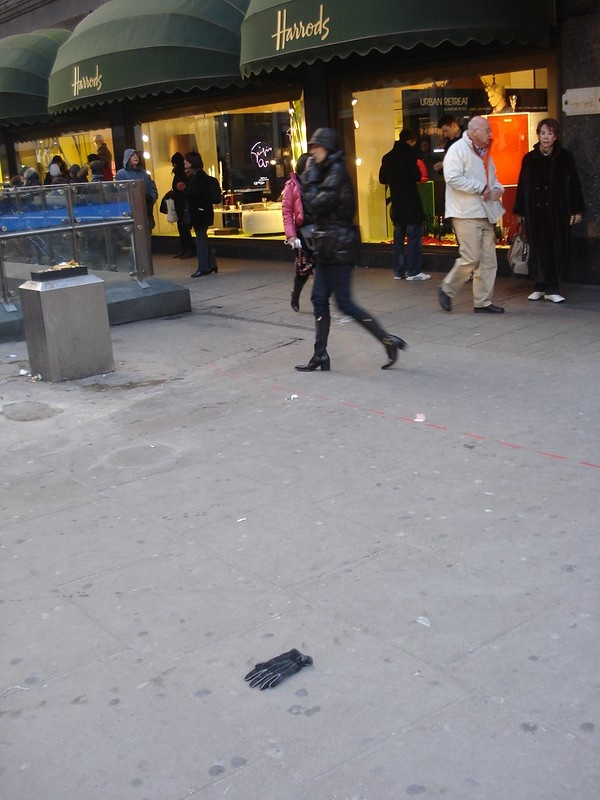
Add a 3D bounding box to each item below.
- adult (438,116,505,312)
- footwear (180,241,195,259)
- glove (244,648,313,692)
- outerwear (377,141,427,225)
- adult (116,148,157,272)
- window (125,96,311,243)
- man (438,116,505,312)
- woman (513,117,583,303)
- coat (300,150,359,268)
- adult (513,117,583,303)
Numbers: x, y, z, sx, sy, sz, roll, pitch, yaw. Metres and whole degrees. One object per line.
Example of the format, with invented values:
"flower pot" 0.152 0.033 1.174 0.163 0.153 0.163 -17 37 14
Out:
"adult" 2.102 -2.238 7.853 0.794 2.382 0.593 -2 11 16
"footwear" -2.667 -3.530 15.040 0.216 0.460 0.504 9 9 25
"glove" -0.078 0.894 2.094 0.134 0.030 0.242 6 13 44
"outerwear" 1.718 -3.333 10.313 0.699 1.745 0.627 4 19 34
"adult" -2.941 -3.588 11.591 0.764 1.825 0.699 -14 24 -31
"window" -2.199 -5.558 15.086 4.619 2.866 2.565 -26 28 -37
"man" 2.105 -2.237 7.847 0.797 2.382 0.590 -2 11 14
"woman" 3.153 -2.487 8.049 0.822 1.983 0.275 0 11 21
"coat" 0.254 -1.712 5.753 0.482 0.985 0.300 -4 10 0
"adult" 3.153 -2.487 8.049 0.822 1.983 0.275 0 11 21
